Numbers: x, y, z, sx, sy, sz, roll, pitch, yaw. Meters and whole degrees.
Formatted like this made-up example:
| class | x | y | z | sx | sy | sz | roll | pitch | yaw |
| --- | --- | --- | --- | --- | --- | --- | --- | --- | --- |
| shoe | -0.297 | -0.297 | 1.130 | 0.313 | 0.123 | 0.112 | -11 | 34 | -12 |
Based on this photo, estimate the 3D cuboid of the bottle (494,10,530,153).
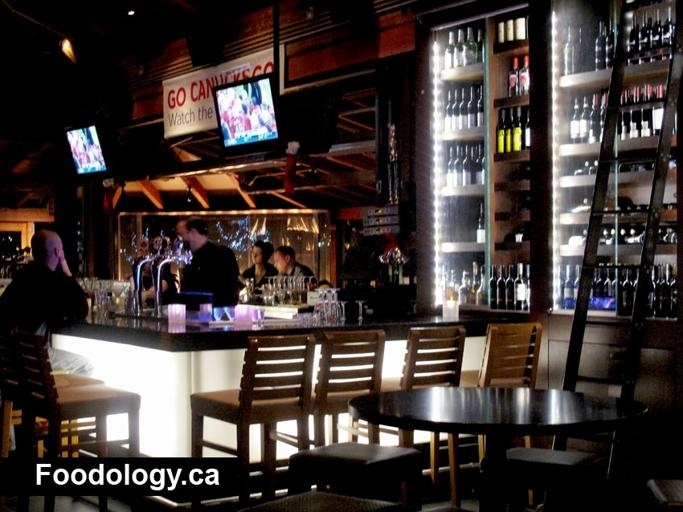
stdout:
| class | x | y | z | sx | sy | sz | roll | pitch | yaw |
| --- | --- | --- | --- | --- | --- | --- | --- | --- | --- |
| bottle | 1.563 | -1.543 | 6.150 | 0.399 | 1.298 | 0.350 | -2 | -3 | 40 |

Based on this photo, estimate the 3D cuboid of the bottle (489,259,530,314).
| class | x | y | z | sx | sy | sz | roll | pitch | yaw |
| --- | --- | --- | --- | --- | --- | --- | --- | --- | --- |
| bottle | 1.490 | 0.279 | 6.124 | 0.335 | 0.413 | 0.315 | 0 | -3 | 0 |

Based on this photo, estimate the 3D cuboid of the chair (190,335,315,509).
| class | x | y | z | sx | sy | sz | roll | pitch | yaw |
| --- | --- | --- | --- | --- | --- | --- | --- | --- | --- |
| chair | -0.586 | 1.126 | 4.822 | 0.618 | 1.180 | 0.673 | 3 | -1 | -40 |

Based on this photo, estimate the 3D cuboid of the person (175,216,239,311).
| class | x | y | z | sx | sy | sz | roll | pitch | yaw |
| --- | --- | --- | --- | --- | --- | --- | --- | --- | --- |
| person | -1.328 | 0.067 | 6.890 | 0.575 | 0.867 | 0.398 | 0 | -2 | -10 |

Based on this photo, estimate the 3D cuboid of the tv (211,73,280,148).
| class | x | y | z | sx | sy | sz | roll | pitch | yaw |
| --- | --- | --- | --- | --- | --- | --- | --- | --- | --- |
| tv | -0.998 | -1.546 | 7.512 | 0.942 | 0.764 | 0.069 | -1 | 11 | 38 |

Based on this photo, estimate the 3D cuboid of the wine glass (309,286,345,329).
| class | x | y | z | sx | sy | sz | roll | pitch | yaw |
| --- | --- | --- | --- | --- | --- | --- | --- | --- | --- |
| wine glass | -0.130 | 0.445 | 5.849 | 0.258 | 0.307 | 0.269 | -1 | 1 | 17 |

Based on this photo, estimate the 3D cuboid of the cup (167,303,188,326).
| class | x | y | z | sx | sy | sz | roll | pitch | yaw |
| --- | --- | --- | --- | --- | --- | --- | --- | --- | --- |
| cup | -1.346 | 0.482 | 5.632 | 0.139 | 0.189 | 0.161 | 0 | -1 | 6 |

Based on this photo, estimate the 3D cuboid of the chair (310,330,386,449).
| class | x | y | z | sx | sy | sz | roll | pitch | yaw |
| --- | --- | --- | --- | --- | --- | --- | --- | --- | --- |
| chair | -0.028 | 0.998 | 5.001 | 0.459 | 0.978 | 0.570 | -1 | 5 | -33 |

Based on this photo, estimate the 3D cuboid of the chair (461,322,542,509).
| class | x | y | z | sx | sy | sz | roll | pitch | yaw |
| --- | --- | --- | --- | --- | --- | --- | --- | --- | --- |
| chair | 1.286 | 0.971 | 5.379 | 0.424 | 1.006 | 0.539 | 0 | 9 | -2 |
